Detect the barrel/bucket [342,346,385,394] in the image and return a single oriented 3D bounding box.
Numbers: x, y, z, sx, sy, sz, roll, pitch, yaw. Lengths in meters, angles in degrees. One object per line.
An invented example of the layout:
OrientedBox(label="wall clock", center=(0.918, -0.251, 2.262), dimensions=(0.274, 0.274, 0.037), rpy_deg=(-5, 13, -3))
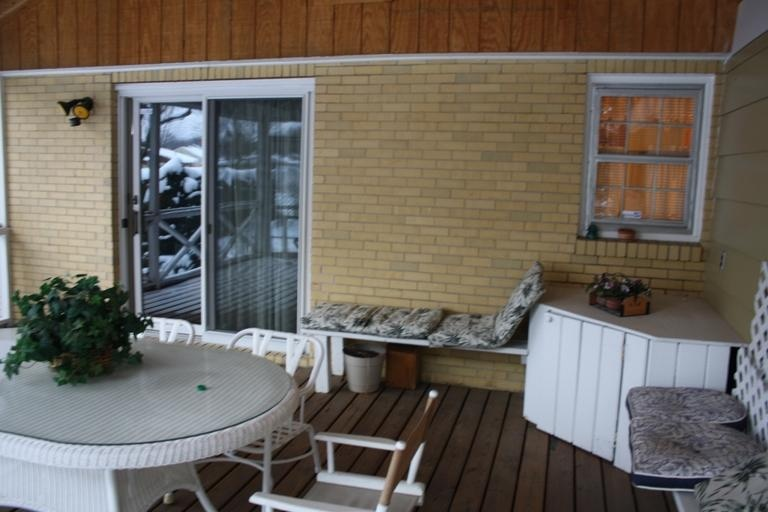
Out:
OrientedBox(label="barrel/bucket", center=(-0.234, 1.178, 5.829), dimensions=(0.490, 0.329, 0.430), rpy_deg=(-10, -13, 27))

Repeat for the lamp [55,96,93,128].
OrientedBox(label="lamp", center=(-3.502, -1.626, 6.592), dimensions=(0.402, 0.320, 0.211), rpy_deg=(3, 8, 17))

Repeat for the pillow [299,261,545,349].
OrientedBox(label="pillow", center=(0.409, 0.341, 5.508), dimensions=(2.384, 0.651, 0.888), rpy_deg=(5, 18, 14))

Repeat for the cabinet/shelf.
OrientedBox(label="cabinet/shelf", center=(2.296, 0.874, 5.044), dimensions=(1.468, 1.147, 1.921), rpy_deg=(-8, 13, -41))

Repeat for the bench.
OrientedBox(label="bench", center=(0.384, 1.019, 6.007), dimensions=(2.272, 0.457, 0.827), rpy_deg=(5, 3, -15))

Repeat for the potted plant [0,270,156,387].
OrientedBox(label="potted plant", center=(-2.021, 0.425, 3.803), dimensions=(0.952, 0.499, 0.773), rpy_deg=(10, 17, 26))
